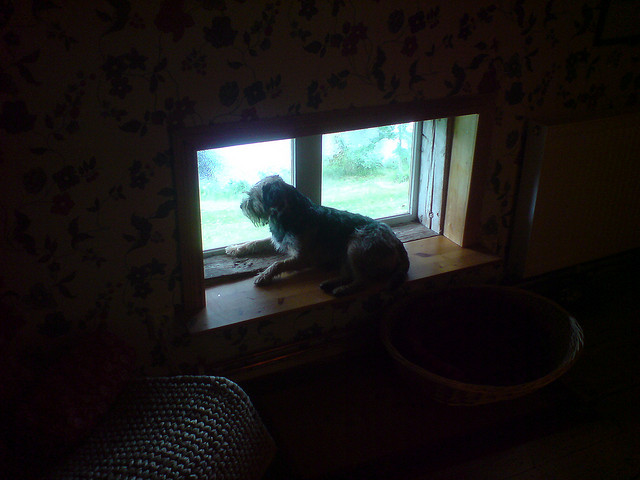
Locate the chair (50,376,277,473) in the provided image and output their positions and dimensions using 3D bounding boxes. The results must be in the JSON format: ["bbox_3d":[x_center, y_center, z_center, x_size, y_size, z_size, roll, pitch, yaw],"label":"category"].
[{"bbox_3d":[-0.494,0.667,1.622,0.635,0.292,0.352,-3,18,11],"label":"chair"}]

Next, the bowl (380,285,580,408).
[{"bbox_3d":[0.723,0.510,2.206,0.880,0.418,0.606,-6,17,1],"label":"bowl"}]
